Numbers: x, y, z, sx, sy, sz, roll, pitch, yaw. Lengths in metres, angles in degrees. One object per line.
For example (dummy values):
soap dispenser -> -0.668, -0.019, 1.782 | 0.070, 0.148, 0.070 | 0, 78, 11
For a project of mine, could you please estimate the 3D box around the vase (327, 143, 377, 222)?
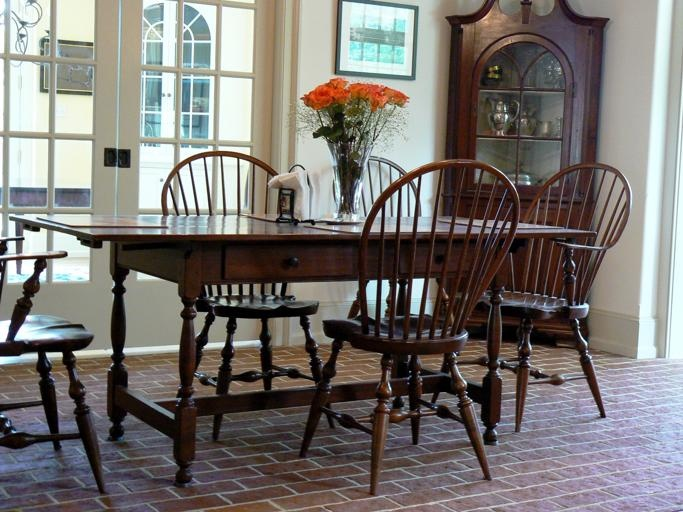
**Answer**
vase -> 0.022, -0.322, 2.800 | 0.244, 0.333, 0.241 | -1, -4, 2

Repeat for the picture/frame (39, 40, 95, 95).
picture/frame -> -1.688, -1.157, 3.689 | 0.394, 0.361, 0.036 | 1, 2, -20

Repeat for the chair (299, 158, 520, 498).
chair -> 0.221, 0.240, 2.418 | 0.696, 1.148, 0.765 | 4, 0, 40
